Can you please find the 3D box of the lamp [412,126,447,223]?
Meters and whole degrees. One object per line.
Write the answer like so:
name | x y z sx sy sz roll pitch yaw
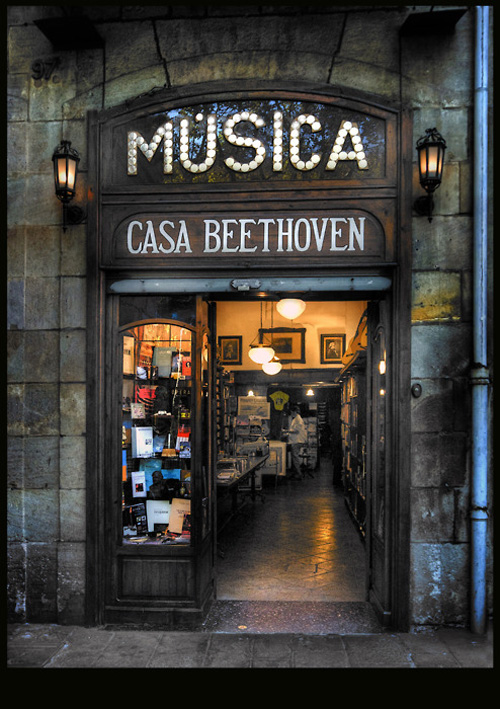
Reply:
lamp | 1.405 -1.455 6.917 0.272 0.747 0.346 -2 -3 13

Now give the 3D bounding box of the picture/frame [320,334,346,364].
picture/frame | 1.590 -0.132 16.868 0.563 0.658 0.068 1 -2 21

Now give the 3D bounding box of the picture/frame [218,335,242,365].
picture/frame | -0.420 -0.111 17.408 0.565 0.660 0.045 2 10 3

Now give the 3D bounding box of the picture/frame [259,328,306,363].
picture/frame | 0.574 -0.203 16.389 0.680 0.653 0.066 0 3 -10

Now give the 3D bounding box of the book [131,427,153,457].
book | -0.904 0.738 7.357 0.184 0.251 0.051 -1 -3 -9

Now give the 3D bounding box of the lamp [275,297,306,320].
lamp | 0.364 -0.449 7.970 0.210 0.182 0.214 -3 -8 22

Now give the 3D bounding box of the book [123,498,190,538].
book | -0.774 1.357 7.247 0.537 0.304 0.104 -2 -3 5

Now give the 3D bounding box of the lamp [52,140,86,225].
lamp | -1.498 -1.421 7.148 0.254 0.740 0.407 -1 -3 -5
